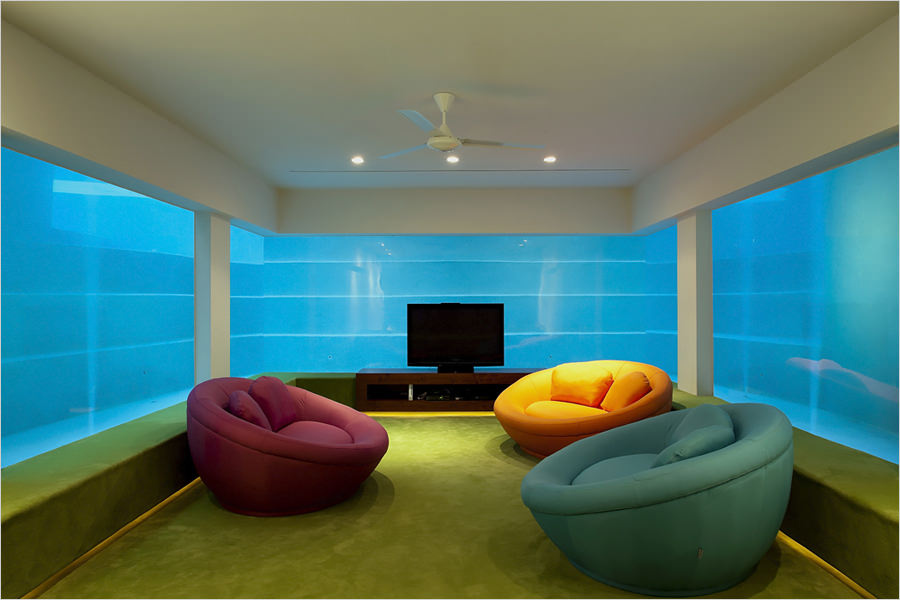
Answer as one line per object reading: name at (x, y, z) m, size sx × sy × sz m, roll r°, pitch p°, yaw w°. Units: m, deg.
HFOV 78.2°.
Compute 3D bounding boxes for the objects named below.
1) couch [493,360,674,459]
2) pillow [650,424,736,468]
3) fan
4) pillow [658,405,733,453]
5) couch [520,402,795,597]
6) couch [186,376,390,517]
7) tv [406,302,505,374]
couch at (1.296, 1.061, 5.476) m, size 1.684 × 0.613 × 1.594 m, roll -1°, pitch 5°, yaw 37°
pillow at (1.532, 0.894, 3.480) m, size 0.365 × 0.104 × 0.309 m, roll -17°, pitch -1°, yaw 2°
fan at (-0.087, -1.645, 5.434) m, size 1.263 × 0.443 × 1.724 m, roll 0°, pitch 10°, yaw -2°
pillow at (1.568, 0.884, 3.597) m, size 0.445 × 0.149 × 0.430 m, roll -21°, pitch 0°, yaw 17°
couch at (1.390, 1.244, 3.564) m, size 1.444 × 0.783 × 1.464 m, roll -9°, pitch -7°, yaw 28°
couch at (-1.363, 1.163, 4.765) m, size 1.762 × 0.809 × 1.633 m, roll 5°, pitch 2°, yaw -10°
tv at (0.069, 0.489, 7.201) m, size 1.014 × 0.612 × 0.252 m, roll 0°, pitch -6°, yaw 1°
